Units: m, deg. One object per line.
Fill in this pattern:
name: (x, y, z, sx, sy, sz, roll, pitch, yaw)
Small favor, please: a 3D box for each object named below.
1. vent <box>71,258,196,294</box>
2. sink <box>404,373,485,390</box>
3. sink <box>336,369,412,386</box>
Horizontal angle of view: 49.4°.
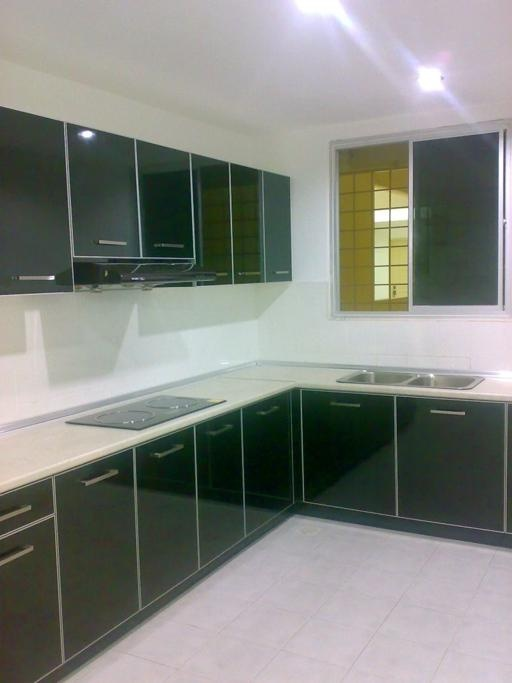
vent: (-0.449, -0.293, 2.301, 0.160, 0.171, 0.764, -1, 3, 24)
sink: (1.102, 0.231, 3.243, 0.225, 0.077, 0.181, 2, 9, 37)
sink: (0.757, 0.218, 3.382, 0.225, 0.080, 0.177, 0, 6, 17)
